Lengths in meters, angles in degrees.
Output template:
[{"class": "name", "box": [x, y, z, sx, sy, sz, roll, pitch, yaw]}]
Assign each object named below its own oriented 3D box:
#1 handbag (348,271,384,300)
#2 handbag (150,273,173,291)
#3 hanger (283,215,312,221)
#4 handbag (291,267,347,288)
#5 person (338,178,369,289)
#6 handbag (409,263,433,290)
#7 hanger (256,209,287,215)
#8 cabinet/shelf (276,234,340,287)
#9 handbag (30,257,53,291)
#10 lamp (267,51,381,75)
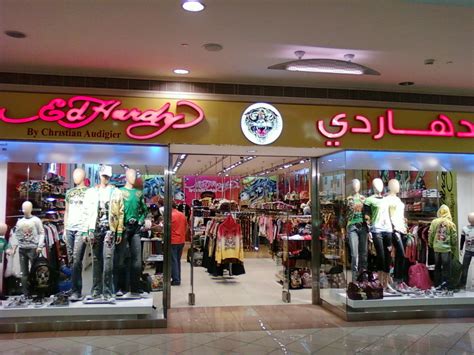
[{"class": "handbag", "box": [2.034, 1.712, 6.035, 0.578, 0.396, 0.280, 6, -4, -24]}, {"class": "handbag", "box": [-1.181, 1.541, 5.546, 0.215, 0.223, 0.081, 1, 4, -30]}, {"class": "hanger", "box": [1.246, 0.824, 7.710, 0.327, 0.066, 0.302, 0, 0, 13]}, {"class": "handbag", "box": [1.442, 1.781, 6.550, 0.848, 0.273, 0.766, 0, -5, -2]}, {"class": "person", "box": [1.907, 0.834, 5.999, 0.456, 1.635, 0.193, 5, -11, -32]}, {"class": "handbag", "box": [3.050, 1.657, 6.336, 0.422, 0.403, 0.359, -7, -7, -12]}, {"class": "hanger", "box": [0.766, 0.830, 9.099, 0.544, 0.151, 1.456, 0, -7, -4]}, {"class": "cabinet/shelf", "box": [1.421, 1.575, 7.946, 0.651, 0.949, 1.145, -5, 0, 18]}, {"class": "handbag", "box": [-2.811, 1.371, 5.418, 0.354, 0.389, 0.382, 4, 6, -20]}, {"class": "lamp", "box": [1.108, -1.471, 4.888, 1.475, 0.249, 0.187, 0, -8, -6]}]
